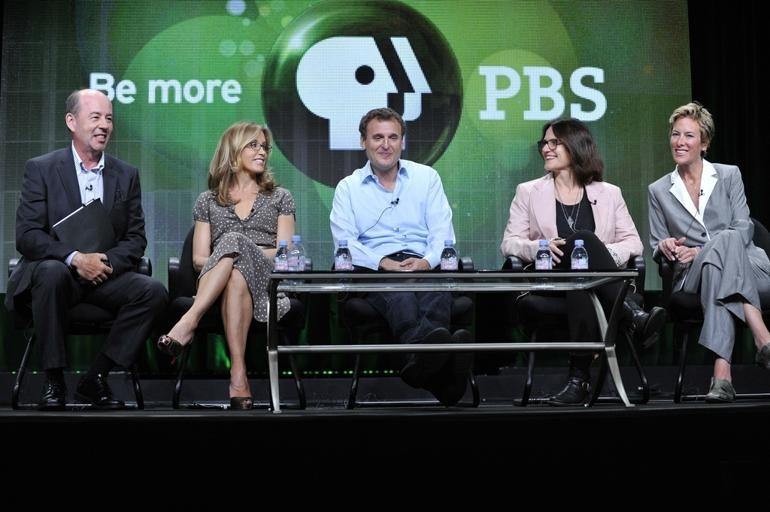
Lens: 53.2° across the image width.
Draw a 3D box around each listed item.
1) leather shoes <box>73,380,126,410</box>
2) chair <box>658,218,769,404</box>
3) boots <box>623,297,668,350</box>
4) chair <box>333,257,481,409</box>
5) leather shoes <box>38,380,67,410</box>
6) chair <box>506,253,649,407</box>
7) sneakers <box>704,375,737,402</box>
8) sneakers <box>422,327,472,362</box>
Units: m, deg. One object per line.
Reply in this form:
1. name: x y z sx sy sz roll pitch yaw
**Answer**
1. leather shoes: -1.661 0.770 4.379 0.319 0.166 0.129 7 -4 9
2. chair: 2.036 0.366 4.808 0.682 1.188 1.021 2 4 29
3. boots: 1.442 0.322 4.319 0.138 0.278 0.279 -5 -27 -8
4. chair: 0.165 0.479 4.444 0.695 0.933 0.857 5 -32 -9
5. leather shoes: -1.828 0.764 4.232 0.135 0.153 0.110 -2 4 -27
6. chair: 1.142 0.525 4.886 0.867 1.335 0.983 1 -25 5
7. sneakers: 1.894 0.740 4.331 0.135 0.141 0.244 2 5 29
8. sneakers: 0.330 0.459 4.036 0.276 0.180 0.138 0 4 -3
